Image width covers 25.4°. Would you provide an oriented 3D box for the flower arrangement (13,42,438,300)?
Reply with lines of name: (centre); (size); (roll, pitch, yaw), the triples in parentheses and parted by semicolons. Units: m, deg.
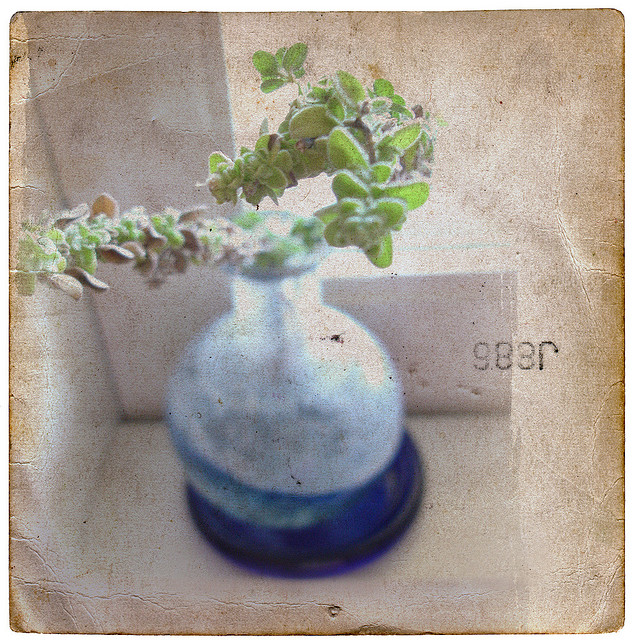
flower arrangement: (-0.248, -0.256, 3.622); (1.011, 0.425, 0.558); (-15, 65, 2)
